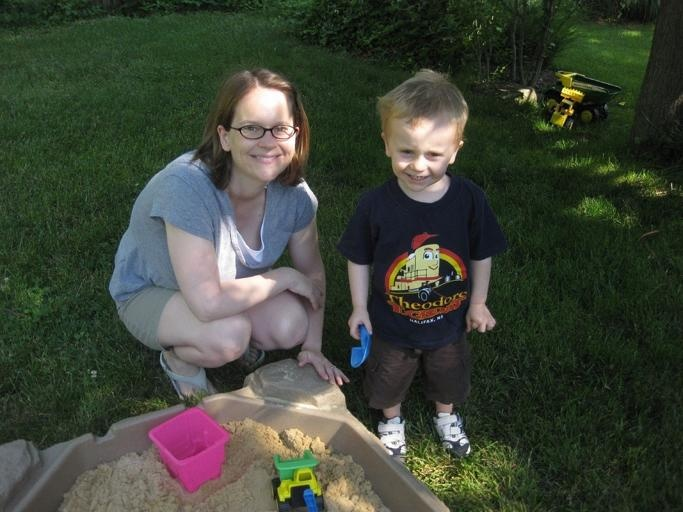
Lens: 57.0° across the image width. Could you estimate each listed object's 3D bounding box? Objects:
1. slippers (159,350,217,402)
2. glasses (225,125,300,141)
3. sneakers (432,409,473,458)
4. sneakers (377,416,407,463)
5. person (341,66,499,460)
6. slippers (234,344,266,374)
[{"bbox_3d":[-0.906,0.716,3.700,0.171,0.119,0.444,-32,76,-26],"label":"slippers"},{"bbox_3d":[-0.418,-0.666,3.377,0.347,0.091,0.082,-7,32,-11],"label":"glasses"},{"bbox_3d":[0.647,1.016,3.603,0.118,0.126,0.268,-10,28,-7],"label":"sneakers"},{"bbox_3d":[0.301,1.024,3.623,0.095,0.137,0.293,-8,30,-11],"label":"sneakers"},{"bbox_3d":[0.446,0.151,3.539,0.968,2.228,0.613,-2,26,2],"label":"person"},{"bbox_3d":[-0.571,0.627,3.950,0.162,0.163,0.122,-41,88,-25],"label":"slippers"}]
